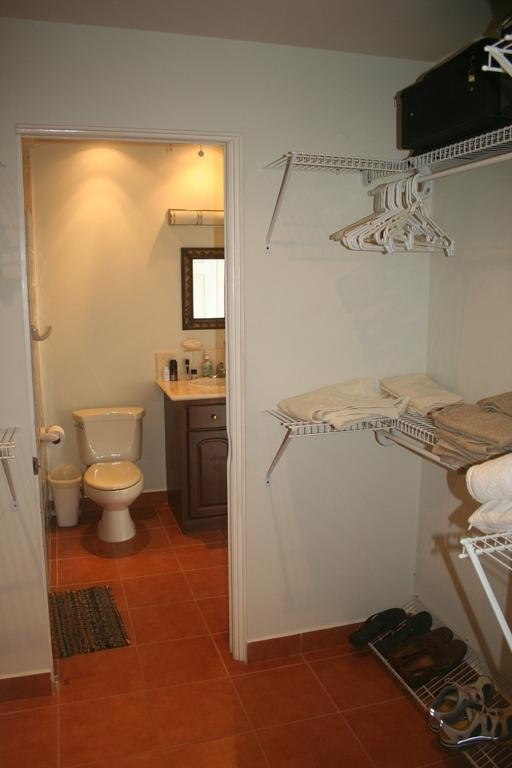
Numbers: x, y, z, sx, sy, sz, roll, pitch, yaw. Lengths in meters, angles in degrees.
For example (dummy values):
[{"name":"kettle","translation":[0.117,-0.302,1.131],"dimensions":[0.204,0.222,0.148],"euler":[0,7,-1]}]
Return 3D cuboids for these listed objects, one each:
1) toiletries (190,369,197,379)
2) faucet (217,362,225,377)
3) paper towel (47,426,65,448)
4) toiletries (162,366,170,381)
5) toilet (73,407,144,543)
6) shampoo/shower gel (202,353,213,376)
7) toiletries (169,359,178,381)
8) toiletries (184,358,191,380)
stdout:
[{"name":"toiletries","translation":[-0.436,-0.074,4.085],"dimensions":[0.058,0.111,0.062],"euler":[1,0,-13]},{"name":"faucet","translation":[-0.255,-0.106,4.153],"dimensions":[0.056,0.103,0.108],"euler":[-2,8,-6]},{"name":"paper towel","translation":[-0.866,0.229,2.528],"dimensions":[0.065,0.076,0.144],"euler":[-7,7,-4]},{"name":"toiletries","translation":[-0.617,-0.064,4.017],"dimensions":[0.043,0.091,0.032],"euler":[-2,8,-10]},{"name":"toilet","translation":[-0.907,0.506,3.647],"dimensions":[0.474,0.825,0.483],"euler":[0,12,-13]},{"name":"shampoo/shower gel","translation":[-0.345,-0.135,4.139],"dimensions":[0.071,0.158,0.099],"euler":[-2,8,-4]},{"name":"toiletries","translation":[-0.565,-0.101,4.045],"dimensions":[0.038,0.146,0.077],"euler":[4,9,34]},{"name":"toiletries","translation":[-0.479,-0.109,4.087],"dimensions":[0.040,0.142,0.037],"euler":[-3,8,-16]}]
